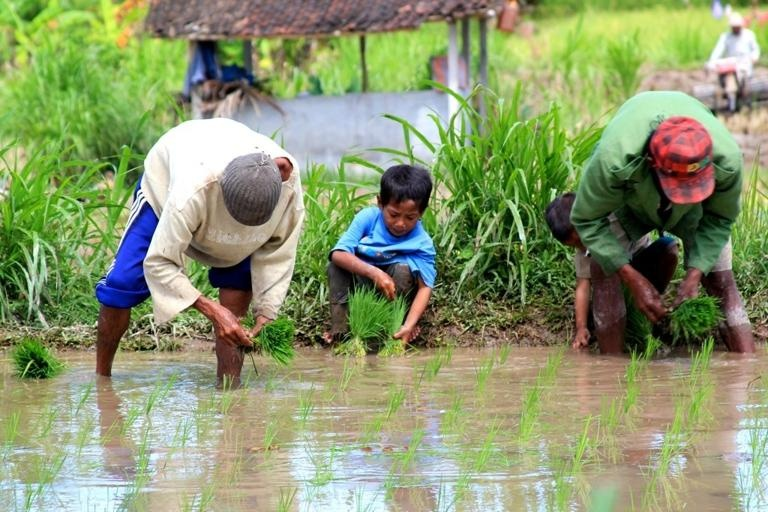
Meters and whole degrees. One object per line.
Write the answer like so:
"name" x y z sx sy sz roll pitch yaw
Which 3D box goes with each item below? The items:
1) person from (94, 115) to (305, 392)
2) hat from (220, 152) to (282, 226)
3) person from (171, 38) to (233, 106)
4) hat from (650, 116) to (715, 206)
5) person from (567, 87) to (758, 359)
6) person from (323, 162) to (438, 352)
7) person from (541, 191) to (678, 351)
"person" -1.209 0.037 6.173 1.327 1.682 0.706 1 24 2
"hat" -0.811 -0.418 5.707 0.307 0.360 0.448 1 69 -13
"person" -2.622 -2.644 13.327 0.724 0.645 1.478 -4 70 -7
"hat" 1.931 -0.586 6.110 0.360 0.557 0.226 -15 -3 1
"person" 1.948 -0.160 6.539 1.276 1.882 0.868 5 24 11
"person" -0.023 -0.017 7.061 0.812 1.340 0.579 2 24 4
"person" 1.655 0.059 6.952 0.405 1.225 0.828 -2 2 -40
